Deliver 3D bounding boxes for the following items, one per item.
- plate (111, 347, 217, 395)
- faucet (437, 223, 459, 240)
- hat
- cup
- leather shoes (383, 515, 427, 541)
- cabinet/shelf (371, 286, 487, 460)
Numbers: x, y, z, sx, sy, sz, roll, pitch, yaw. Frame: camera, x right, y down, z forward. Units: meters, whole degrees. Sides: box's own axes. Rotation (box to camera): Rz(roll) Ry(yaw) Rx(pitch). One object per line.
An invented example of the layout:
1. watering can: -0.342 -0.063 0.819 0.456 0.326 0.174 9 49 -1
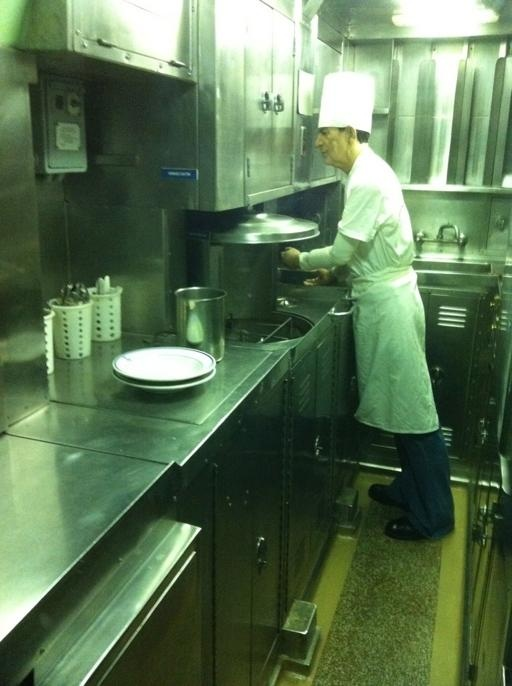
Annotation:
1. plate: -0.210 0.053 1.607 0.138 0.037 0.140 -5 25 -19
2. faucet: 0.963 -0.553 3.431 0.073 0.069 0.028 7 20 33
3. hat: 0.325 -0.876 2.578 0.186 0.224 0.218 12 13 33
4. cup: -0.138 -0.062 1.776 0.096 0.185 0.122 13 26 24
5. leather shoes: 0.592 0.730 2.712 0.149 0.072 0.069 16 24 7
6. cabinet/shelf: 0.882 0.095 3.300 0.511 1.177 0.557 3 10 23
